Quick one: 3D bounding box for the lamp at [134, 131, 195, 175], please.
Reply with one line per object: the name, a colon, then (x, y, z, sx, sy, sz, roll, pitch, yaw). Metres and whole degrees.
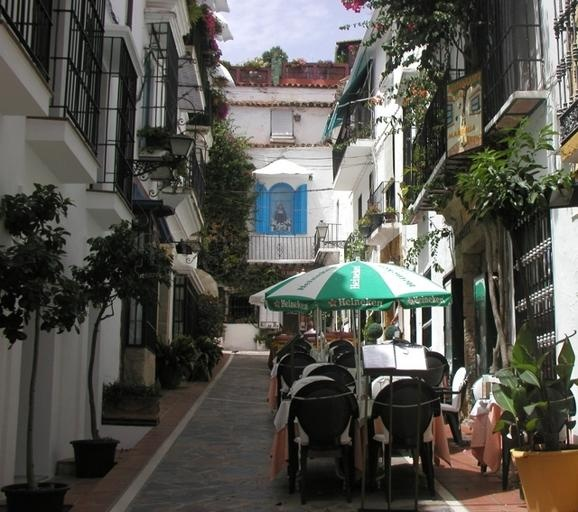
lamp: (-2.129, -1.786, 13.178, 0.638, 0.431, 1.033, 6, -5, -1)
